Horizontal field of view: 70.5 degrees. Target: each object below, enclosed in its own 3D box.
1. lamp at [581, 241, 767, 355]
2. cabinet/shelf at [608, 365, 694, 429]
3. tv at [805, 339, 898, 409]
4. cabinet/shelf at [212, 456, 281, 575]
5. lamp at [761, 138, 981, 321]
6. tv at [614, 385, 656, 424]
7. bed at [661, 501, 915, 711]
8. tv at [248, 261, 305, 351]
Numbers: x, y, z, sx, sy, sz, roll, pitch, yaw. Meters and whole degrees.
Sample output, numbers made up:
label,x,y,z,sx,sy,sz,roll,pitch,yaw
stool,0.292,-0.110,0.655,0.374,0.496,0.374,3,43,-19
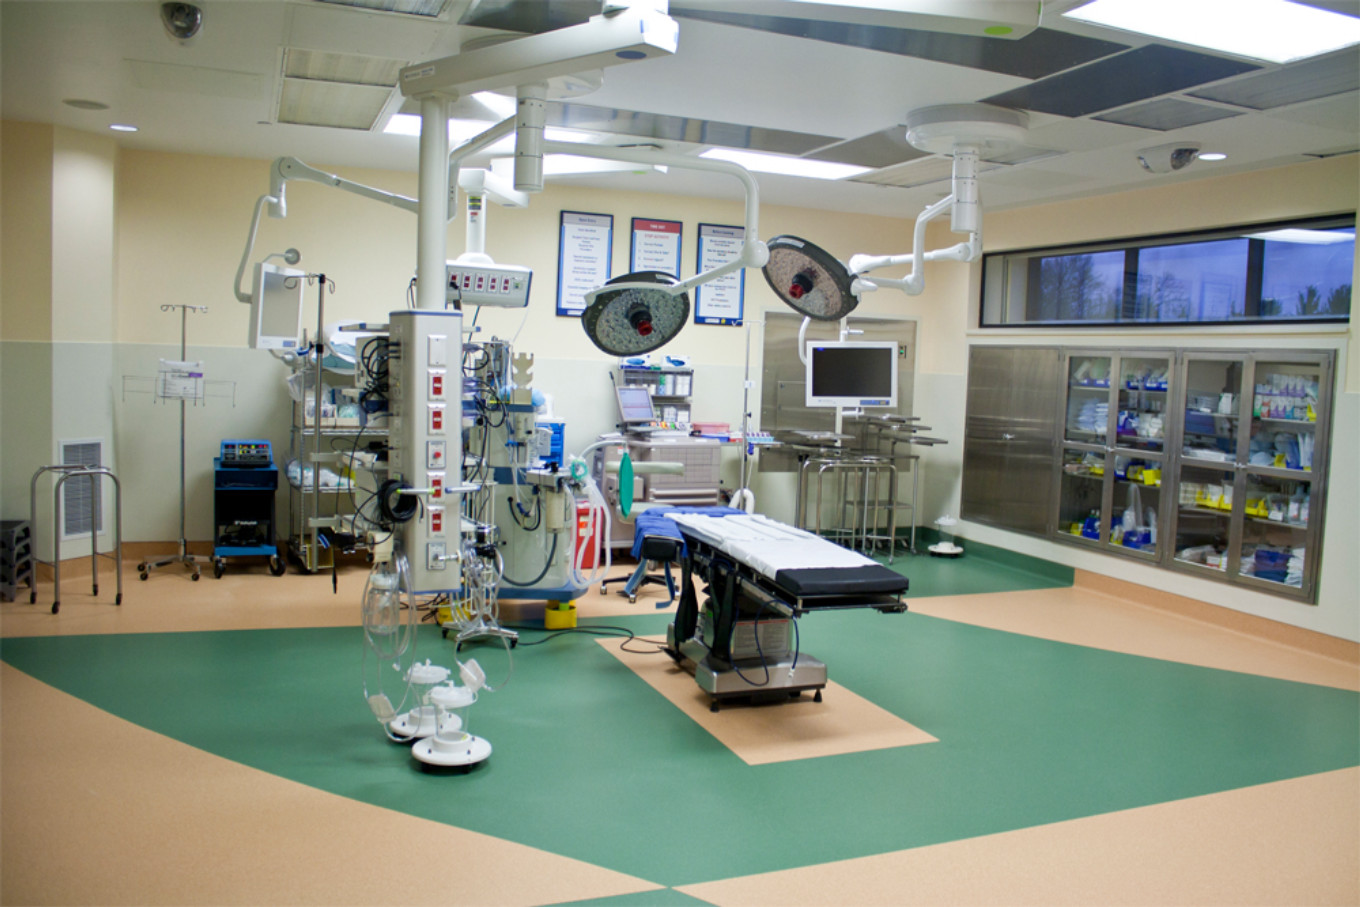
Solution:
label,x,y,z,sx,sy,sz,roll,pitch,yaw
lamp,-0.092,-0.824,5.084,0.853,0.556,0.198,-24,42,14
cabinet/shelf,-0.304,-0.522,8.644,0.608,0.552,0.173,0,-2,-21
tv,1.533,-0.724,8.697,0.821,0.587,0.362,4,14,7
cabinet/shelf,-3.433,0.587,7.687,0.619,0.863,0.879,6,-17,-26
lamp,1.088,-1.250,5.576,1.191,0.848,0.892,-18,39,-24
tv,-0.399,-0.432,8.527,0.352,0.309,0.392,2,13,-2
bed,0.479,0.980,5.876,0.768,0.958,1.993,4,5,-22
tv,-2.676,-0.973,6.381,0.250,0.580,0.497,8,15,20
